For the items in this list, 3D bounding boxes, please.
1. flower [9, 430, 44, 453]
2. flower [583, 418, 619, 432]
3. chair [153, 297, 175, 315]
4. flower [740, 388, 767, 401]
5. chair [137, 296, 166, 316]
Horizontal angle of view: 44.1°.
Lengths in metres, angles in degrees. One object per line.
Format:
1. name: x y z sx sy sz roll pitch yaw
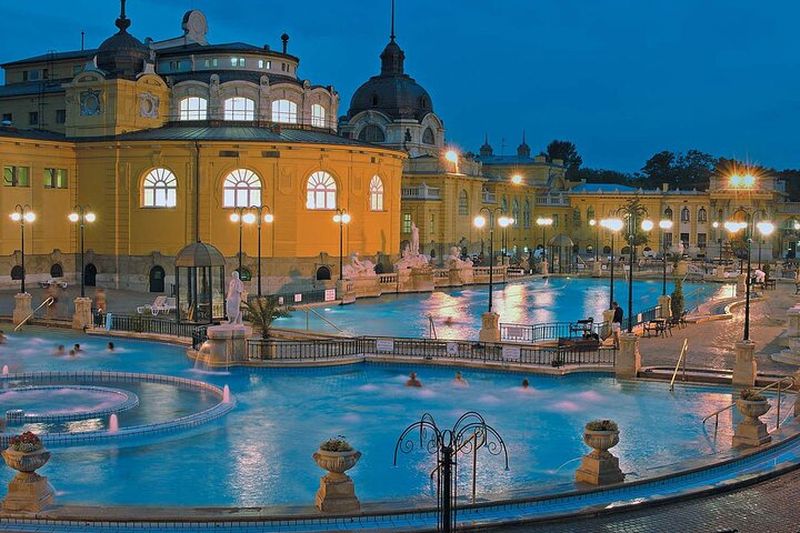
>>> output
1. flower: -11.655 5.430 30.695 0.684 0.332 0.697 3 -3 -33
2. flower: 6.668 5.206 32.635 0.992 0.293 0.921 -2 -1 17
3. chair: -13.399 2.220 56.306 0.758 0.881 1.399 -1 7 -35
4. flower: 13.250 4.776 37.066 0.871 0.318 0.777 -2 2 -19
5. chair: -13.933 2.267 56.000 1.728 0.852 0.963 1 -3 -5
